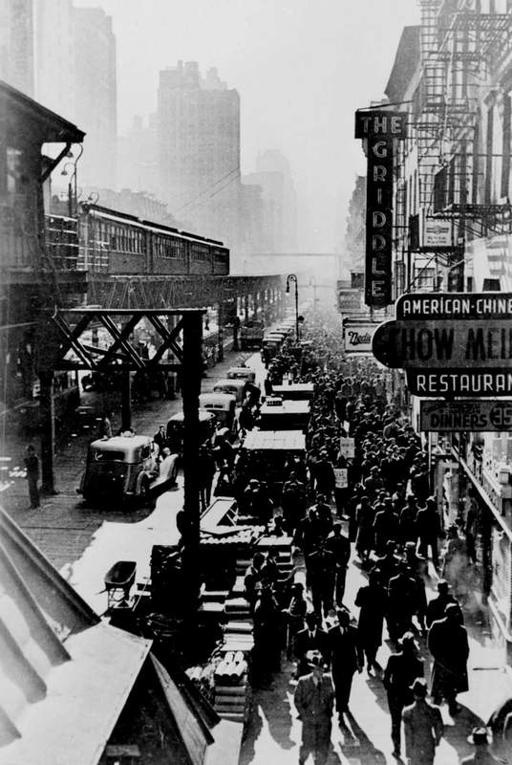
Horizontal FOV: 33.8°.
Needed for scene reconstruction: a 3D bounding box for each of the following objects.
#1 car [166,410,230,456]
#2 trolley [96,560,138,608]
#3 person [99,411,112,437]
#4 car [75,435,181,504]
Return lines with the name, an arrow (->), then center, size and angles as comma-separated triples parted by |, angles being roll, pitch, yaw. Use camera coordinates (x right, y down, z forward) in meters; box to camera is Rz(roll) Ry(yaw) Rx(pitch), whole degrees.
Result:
car -> -1.869, 1.323, 24.386 | 0.969, 1.402, 2.021 | 2, 16, 12
trolley -> -1.889, 2.804, 11.709 | 0.324, 0.682, 0.415 | 0, -9, 13
person -> -4.992, 1.369, 27.727 | 0.298, 1.409, 0.450 | 0, 5, 9
car -> -3.001, 1.891, 20.331 | 1.077, 1.413, 2.400 | 1, 12, 11
